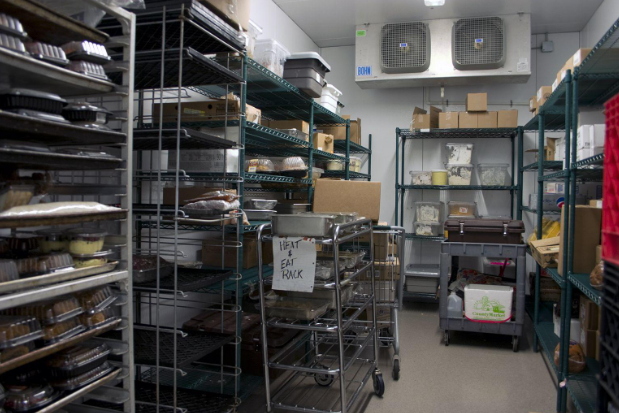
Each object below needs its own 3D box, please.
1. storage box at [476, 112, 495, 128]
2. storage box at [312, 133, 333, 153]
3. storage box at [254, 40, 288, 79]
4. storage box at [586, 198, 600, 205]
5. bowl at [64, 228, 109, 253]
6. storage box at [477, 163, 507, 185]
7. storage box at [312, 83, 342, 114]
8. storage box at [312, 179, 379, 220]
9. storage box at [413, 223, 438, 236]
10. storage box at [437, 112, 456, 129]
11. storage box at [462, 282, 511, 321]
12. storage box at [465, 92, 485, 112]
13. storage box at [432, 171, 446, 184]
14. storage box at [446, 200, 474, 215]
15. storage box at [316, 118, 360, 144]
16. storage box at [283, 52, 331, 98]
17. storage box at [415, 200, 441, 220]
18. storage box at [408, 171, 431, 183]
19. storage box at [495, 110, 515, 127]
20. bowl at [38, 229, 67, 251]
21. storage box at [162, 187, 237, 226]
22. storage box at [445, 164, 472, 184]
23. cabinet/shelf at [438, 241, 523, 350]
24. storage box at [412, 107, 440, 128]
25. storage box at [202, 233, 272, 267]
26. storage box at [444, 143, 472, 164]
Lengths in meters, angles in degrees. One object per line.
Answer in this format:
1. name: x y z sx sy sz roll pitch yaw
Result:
1. storage box: 2.055 -1.019 5.404 0.199 0.133 0.190 -1 6 9
2. storage box: 0.140 -0.655 4.712 0.157 0.172 0.280 2 6 21
3. storage box: -0.293 -1.268 3.922 0.141 0.281 0.441 6 5 29
4. storage box: 2.213 -0.041 3.622 0.072 0.065 0.038 2 10 25
5. bowl: -1.059 0.171 2.241 0.171 0.087 0.170 1 -2 0
6. storage box: 2.271 -0.357 5.743 0.407 0.258 0.289 1 2 12
7. storage box: 0.243 -1.165 4.871 0.309 0.167 0.401 8 2 28
8. storage box: 0.326 -0.084 3.930 0.673 0.323 0.410 2 4 19
9. storage box: 1.434 0.275 5.675 0.226 0.097 0.164 1 1 10
10. storage box: 1.628 -1.027 5.483 0.213 0.176 0.203 1 5 18
11. storage box: 1.584 0.864 4.166 0.544 0.344 0.299 0 -5 15
12. storage box: 1.922 -1.224 5.381 0.236 0.206 0.221 0 5 5
13. storage box: 1.579 -0.359 5.706 0.180 0.171 0.169 0 -3 -6
14. storage box: 1.851 0.016 5.637 0.359 0.173 0.229 2 -3 12
15. storage box: 0.332 -0.927 5.603 0.397 0.219 0.383 0 -1 22
16. storage box: 0.027 -1.171 4.192 0.410 0.314 0.494 1 -8 19
17. storage box: 1.467 0.052 5.688 0.300 0.199 0.221 0 -1 18
18. storage box: 1.379 -0.372 5.784 0.288 0.175 0.150 -2 -9 18
19. storage box: 2.271 -1.028 5.390 0.221 0.185 0.212 1 8 19
20. bowl: -1.187 0.152 2.185 0.108 0.095 0.109 2 2 0
21. storage box: -0.618 -0.001 2.809 0.447 0.218 0.771 2 4 -15
22. storage box: 1.804 -0.394 5.620 0.331 0.216 0.231 0 -6 5
23. cabinet/shelf: 1.603 0.742 4.720 0.948 1.052 1.155 1 -2 17
24. storage box: 1.451 -1.066 5.734 0.280 0.311 0.498 1 2 23
25. storage box: -0.543 0.259 3.319 0.304 0.133 0.407 2 5 25
26. storage box: 1.780 -0.642 5.568 0.293 0.243 0.280 2 5 15
